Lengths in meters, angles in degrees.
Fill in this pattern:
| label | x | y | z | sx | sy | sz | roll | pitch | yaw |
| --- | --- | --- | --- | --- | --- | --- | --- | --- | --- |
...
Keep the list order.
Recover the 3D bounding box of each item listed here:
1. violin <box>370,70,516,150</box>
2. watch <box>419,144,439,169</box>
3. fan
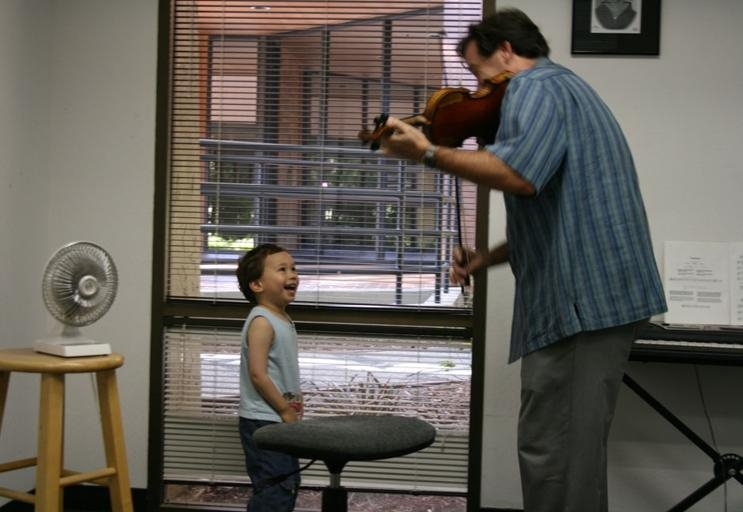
| label | x | y | z | sx | sy | sz | roll | pitch | yaw |
| --- | --- | --- | --- | --- | --- | --- | --- | --- | --- |
| violin | 0.272 | -0.539 | 3.574 | 0.531 | 0.116 | 0.212 | -6 | -45 | 29 |
| watch | 0.214 | -0.364 | 3.381 | 0.057 | 0.082 | 0.080 | -5 | 12 | 2 |
| fan | -1.287 | 0.181 | 4.024 | 0.343 | 0.464 | 0.336 | -1 | 1 | -33 |
